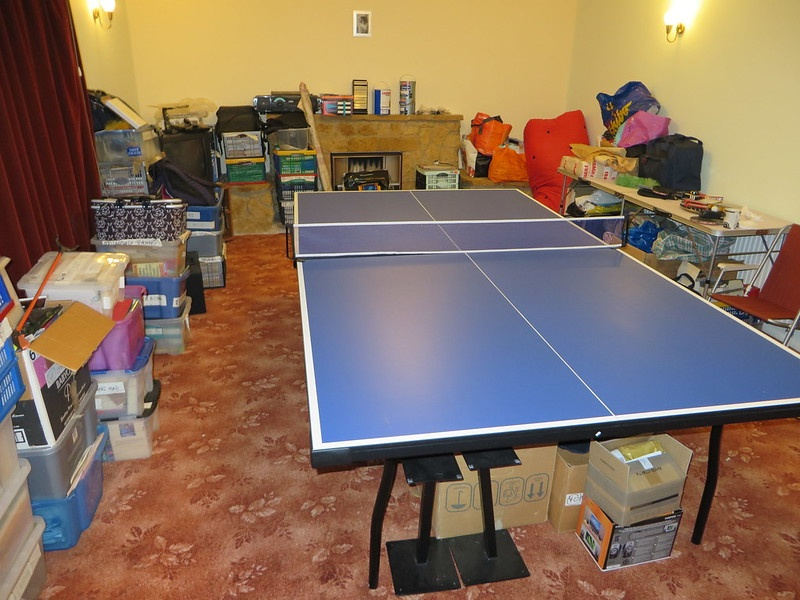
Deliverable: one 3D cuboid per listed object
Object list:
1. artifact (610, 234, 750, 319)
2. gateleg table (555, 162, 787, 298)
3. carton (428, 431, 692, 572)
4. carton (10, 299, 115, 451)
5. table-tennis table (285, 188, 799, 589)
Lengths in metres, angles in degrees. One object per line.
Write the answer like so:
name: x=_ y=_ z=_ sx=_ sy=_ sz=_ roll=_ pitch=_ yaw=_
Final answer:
artifact: x=2.090 y=-0.187 z=3.960 sx=0.328 sy=0.446 sz=0.620 roll=-1 pitch=32 yaw=-23
gateleg table: x=2.504 y=-0.669 z=5.435 sx=0.732 sy=0.839 sz=2.278 roll=-7 pitch=26 yaw=-14
carton: x=0.783 y=0.995 z=2.691 sx=1.172 sy=0.695 sz=0.810 roll=-4 pitch=6 yaw=-3
carton: x=-1.681 y=0.344 z=2.750 sx=0.330 sy=0.570 sz=0.527 roll=-2 pitch=23 yaw=-2
table-tennis table: x=0.528 y=-0.054 z=3.108 sx=2.183 sy=0.328 sz=2.497 roll=-6 pitch=24 yaw=-11
